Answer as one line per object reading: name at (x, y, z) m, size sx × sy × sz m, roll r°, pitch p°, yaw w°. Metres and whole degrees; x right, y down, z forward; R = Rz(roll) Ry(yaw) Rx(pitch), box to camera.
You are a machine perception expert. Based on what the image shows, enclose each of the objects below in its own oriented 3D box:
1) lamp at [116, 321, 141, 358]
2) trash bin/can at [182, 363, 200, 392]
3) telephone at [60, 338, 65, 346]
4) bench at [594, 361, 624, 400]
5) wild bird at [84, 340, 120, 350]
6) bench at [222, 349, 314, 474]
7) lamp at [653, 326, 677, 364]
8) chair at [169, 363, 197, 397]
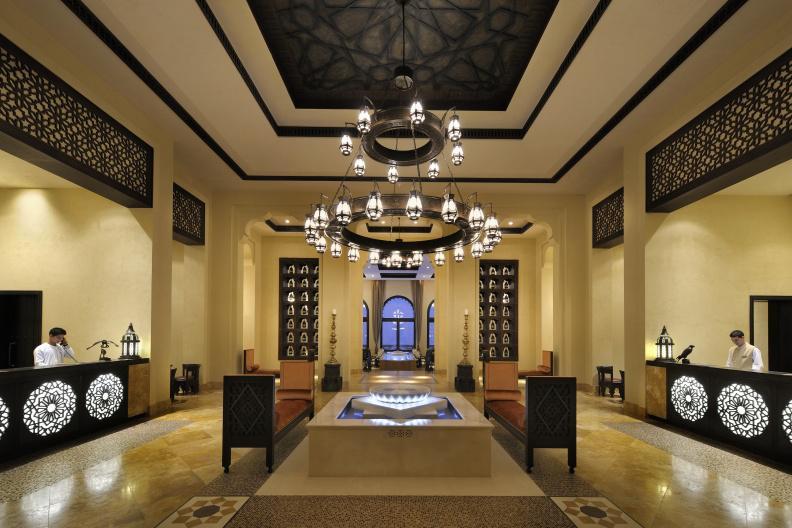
lamp at (-5.042, 1.457, 9.392) m, size 0.334 × 0.616 × 0.567 m, roll 0°, pitch 4°, yaw -6°
trash bin/can at (-5.056, 2.809, 12.152) m, size 0.519 × 0.717 × 0.516 m, roll -1°, pitch -13°, yaw 0°
telephone at (-6.065, 1.401, 8.969) m, size 0.099 × 0.149 × 0.043 m, roll -1°, pitch 21°, yaw -7°
bench at (5.167, 2.863, 11.972) m, size 0.523 × 0.923 × 1.142 m, roll 2°, pitch 5°, yaw 18°
wild bird at (-5.682, 1.557, 9.659) m, size 0.315 × 0.118 × 0.360 m, roll -1°, pitch -4°, yaw 38°
bench at (-2.049, 2.254, 8.314) m, size 0.913 × 1.468 × 2.588 m, roll 0°, pitch 4°, yaw 4°
lamp at (5.211, 1.516, 9.587) m, size 0.324 × 0.617 × 0.740 m, roll 3°, pitch 5°, yaw 28°
chair at (-5.171, 2.787, 11.923) m, size 0.574 × 0.827 × 0.747 m, roll -4°, pitch -14°, yaw 12°
